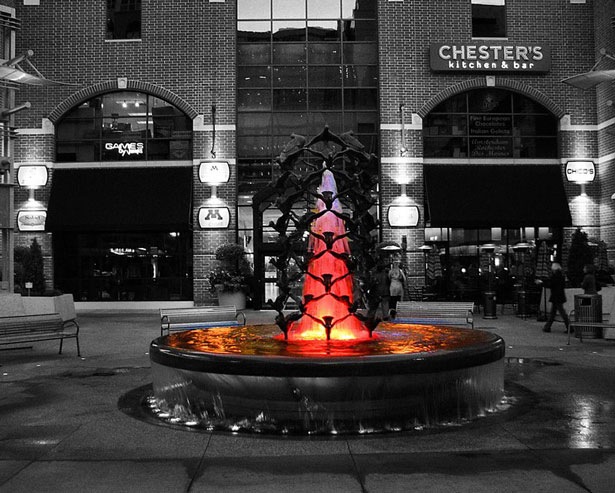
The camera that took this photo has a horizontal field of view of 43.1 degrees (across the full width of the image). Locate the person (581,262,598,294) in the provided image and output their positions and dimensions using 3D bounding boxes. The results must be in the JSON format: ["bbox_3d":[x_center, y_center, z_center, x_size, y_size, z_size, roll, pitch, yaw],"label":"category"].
[{"bbox_3d":[8.771,0.981,24.233,0.439,1.052,3.640,2,9,20],"label":"person"}]
